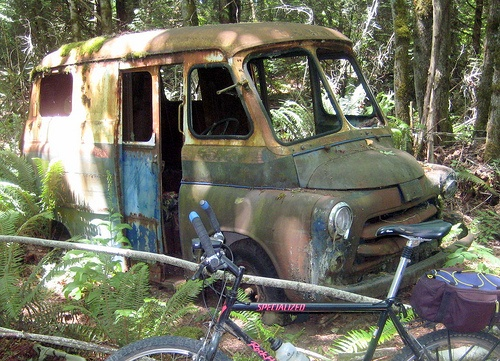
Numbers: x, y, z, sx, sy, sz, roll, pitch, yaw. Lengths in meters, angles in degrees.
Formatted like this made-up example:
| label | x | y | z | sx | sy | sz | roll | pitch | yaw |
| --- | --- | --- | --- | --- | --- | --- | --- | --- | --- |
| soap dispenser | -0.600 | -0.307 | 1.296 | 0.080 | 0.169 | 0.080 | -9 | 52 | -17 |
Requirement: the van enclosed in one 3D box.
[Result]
| label | x | y | z | sx | sy | sz | roll | pitch | yaw |
| --- | --- | --- | --- | --- | --- | --- | --- | --- | --- |
| van | -0.386 | -0.451 | 6.876 | 5.923 | 3.410 | 3.501 | 7 | 13 | 39 |
